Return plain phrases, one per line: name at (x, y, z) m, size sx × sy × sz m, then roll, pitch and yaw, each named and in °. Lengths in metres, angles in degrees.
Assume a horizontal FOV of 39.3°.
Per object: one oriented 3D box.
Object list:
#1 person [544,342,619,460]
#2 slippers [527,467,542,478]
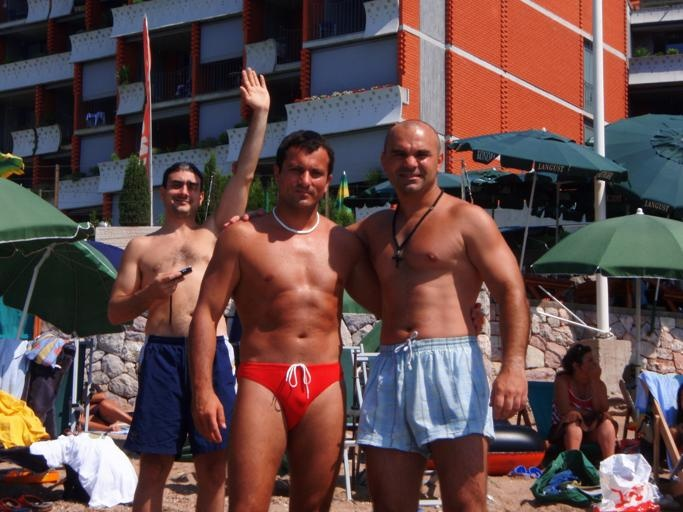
person at (3.420, 2.111, 13.674) m, size 0.873 × 2.226 × 1.227 m, roll 3°, pitch -17°, yaw 2°
slippers at (2.553, 2.897, 12.870) m, size 0.153 × 0.049 × 0.119 m, roll -1°, pitch 24°, yaw 34°
